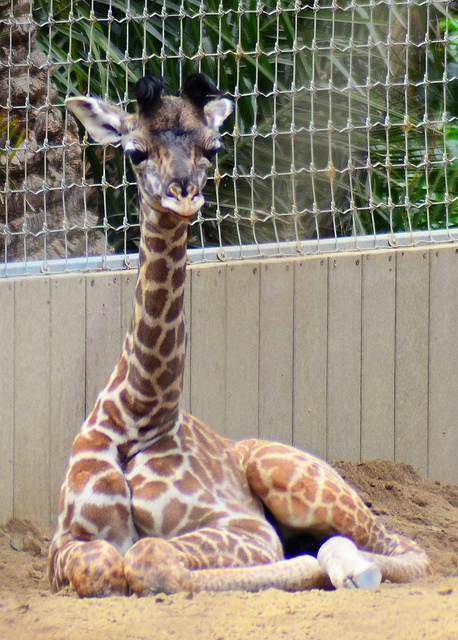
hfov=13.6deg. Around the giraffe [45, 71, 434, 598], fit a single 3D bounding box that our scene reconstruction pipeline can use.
[{"bbox_3d":[-0.172,0.190,6.290,0.974,2.109,1.473,2,-15,-9],"label":"giraffe"}]
